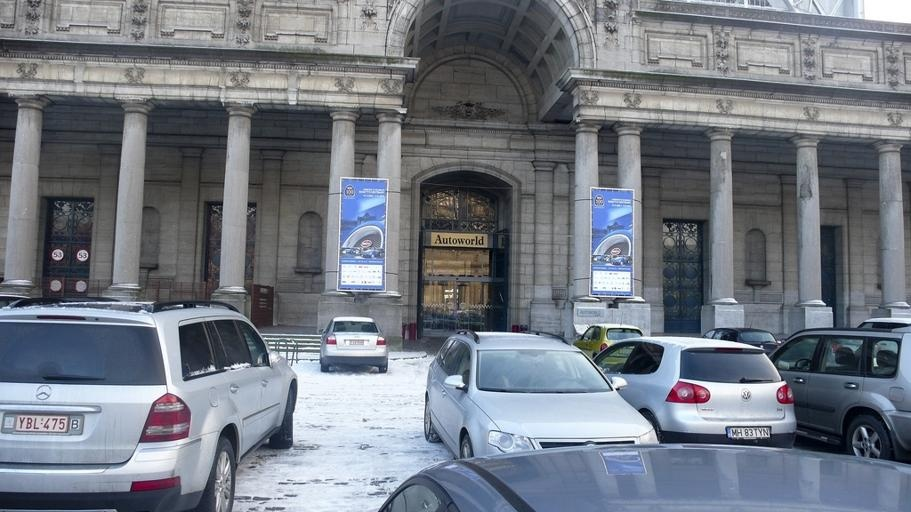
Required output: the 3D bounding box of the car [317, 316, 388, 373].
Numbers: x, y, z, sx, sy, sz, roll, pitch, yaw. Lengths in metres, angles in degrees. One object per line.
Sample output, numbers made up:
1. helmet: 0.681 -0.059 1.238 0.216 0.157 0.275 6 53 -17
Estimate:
1. car: -5.492 4.807 68.993 3.384 2.816 1.097 2 -2 -11
